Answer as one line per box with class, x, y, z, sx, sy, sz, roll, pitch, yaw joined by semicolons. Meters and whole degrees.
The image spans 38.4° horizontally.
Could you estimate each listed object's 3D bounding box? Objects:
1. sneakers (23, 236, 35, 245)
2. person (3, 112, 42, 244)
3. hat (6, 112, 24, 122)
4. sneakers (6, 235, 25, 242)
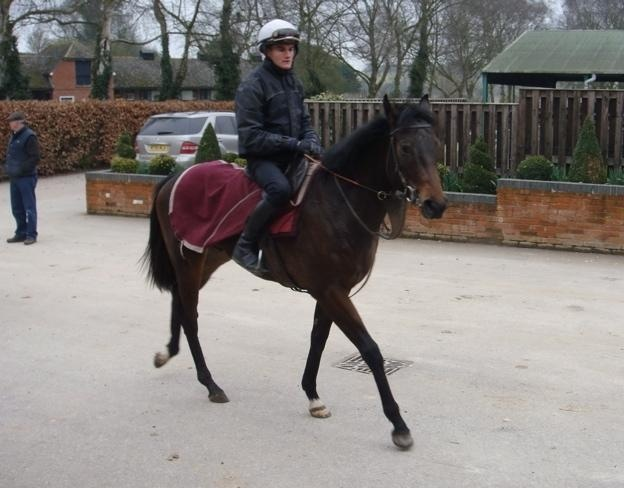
sneakers;-4.844;-0.091;15.429;0.144;0.135;0.385;2;3;-11
person;-5.069;-1.244;15.744;0.578;2.269;1.144;-2;11;-18
hat;-5.223;-2.335;15.795;0.275;0.144;0.187;11;15;3
sneakers;-5.134;-0.125;15.608;0.334;0.131;0.109;3;13;-18
